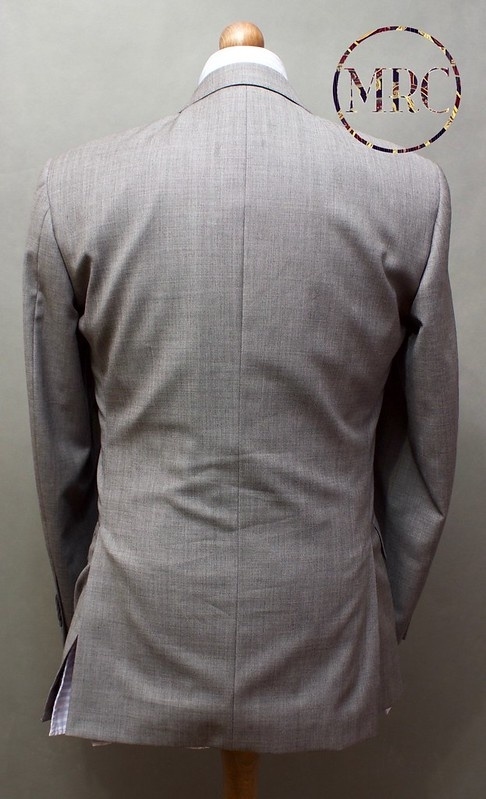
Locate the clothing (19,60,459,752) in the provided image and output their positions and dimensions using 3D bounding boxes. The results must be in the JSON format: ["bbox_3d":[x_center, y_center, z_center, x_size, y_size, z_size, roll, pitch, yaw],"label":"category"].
[{"bbox_3d":[-0.015,0.031,1.063,0.586,0.789,0.577,6,36,12],"label":"clothing"}]
